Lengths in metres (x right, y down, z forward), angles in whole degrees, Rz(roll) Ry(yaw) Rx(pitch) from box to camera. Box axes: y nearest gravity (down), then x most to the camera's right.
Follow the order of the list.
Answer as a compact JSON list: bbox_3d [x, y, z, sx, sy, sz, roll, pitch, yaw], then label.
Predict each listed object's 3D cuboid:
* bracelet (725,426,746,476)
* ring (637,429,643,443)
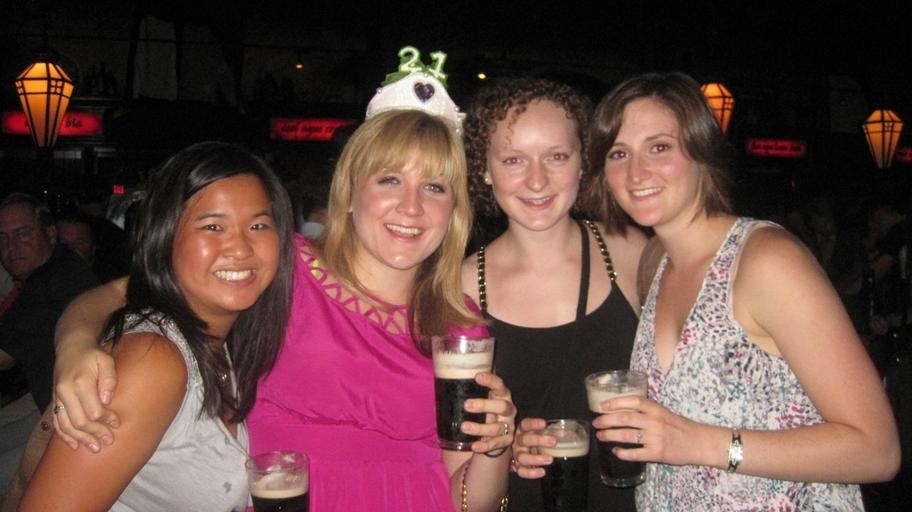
[{"bbox_3d":[2.388,1.637,5.815,0.129,0.336,0.083,3,8,13],"label":"bracelet"},{"bbox_3d":[1.562,1.514,5.803,0.053,0.095,0.011,2,9,10],"label":"ring"}]
